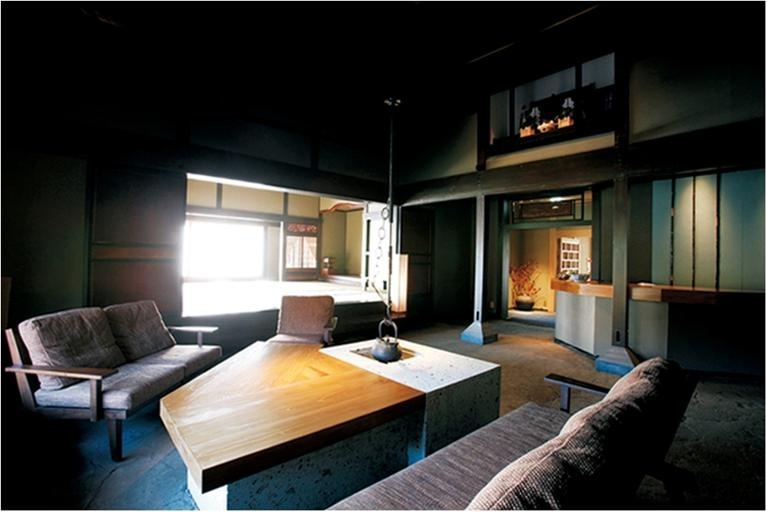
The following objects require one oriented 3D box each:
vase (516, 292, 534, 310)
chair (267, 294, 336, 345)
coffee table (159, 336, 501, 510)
[{"bbox_3d":[3.204,1.038,11.203,0.375,0.257,0.379,2,-5,2],"label":"vase"},{"bbox_3d":[-1.099,0.860,6.749,0.660,0.724,0.730,1,-4,2],"label":"chair"},{"bbox_3d":[-1.035,1.407,4.918,1.993,0.447,1.952,-3,3,-33],"label":"coffee table"}]
